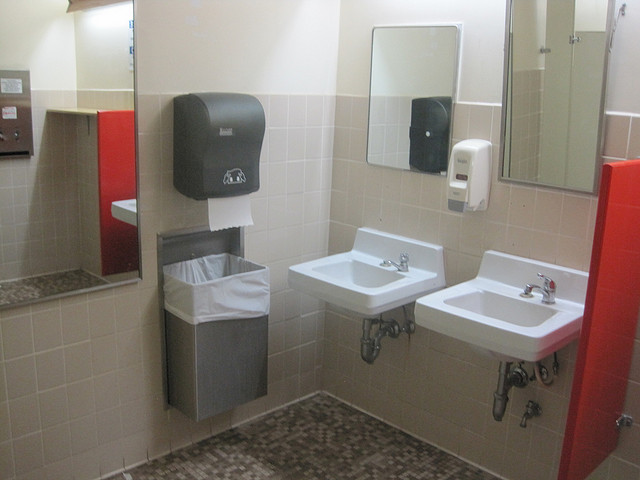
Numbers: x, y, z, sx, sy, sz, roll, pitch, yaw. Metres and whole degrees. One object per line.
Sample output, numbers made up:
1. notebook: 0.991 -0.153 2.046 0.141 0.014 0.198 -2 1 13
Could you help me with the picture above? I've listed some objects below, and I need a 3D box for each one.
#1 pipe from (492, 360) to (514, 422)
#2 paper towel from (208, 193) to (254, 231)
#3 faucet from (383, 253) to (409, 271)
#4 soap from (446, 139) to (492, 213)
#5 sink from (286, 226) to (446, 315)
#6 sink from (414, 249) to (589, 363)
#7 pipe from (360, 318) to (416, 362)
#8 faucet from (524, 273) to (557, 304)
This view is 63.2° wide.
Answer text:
1. pipe: 0.923 0.755 2.640 0.066 0.405 0.187 6 17 20
2. paper towel: -0.472 -0.152 2.761 0.064 0.193 0.271 14 22 40
3. faucet: 0.427 0.114 3.035 0.066 0.115 0.174 -11 19 -38
4. soap: 0.782 -0.342 2.758 0.151 0.452 0.173 -11 20 -40
5. sink: 0.272 0.174 2.978 0.713 0.308 0.634 -16 24 -41
6. sink: 0.911 0.334 2.485 0.592 0.465 0.629 -10 18 -36
7. pipe: 0.406 0.565 3.115 0.341 0.281 0.111 -6 17 -18
8. faucet: 1.090 0.248 2.570 0.164 0.165 0.061 -3 14 -4
